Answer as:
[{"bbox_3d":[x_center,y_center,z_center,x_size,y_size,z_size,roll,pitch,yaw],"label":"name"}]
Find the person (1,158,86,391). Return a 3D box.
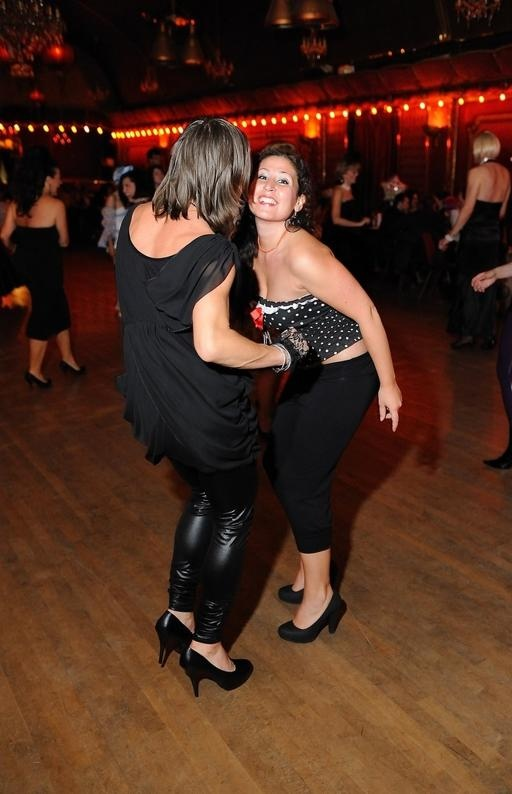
[{"bbox_3d":[-1.781,-1.010,4.692,0.556,1.806,0.523,-4,14,-11],"label":"person"}]

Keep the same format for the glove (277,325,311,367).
[{"bbox_3d":[0.096,-0.108,1.315,0.044,0.092,0.071,11,40,-34],"label":"glove"}]

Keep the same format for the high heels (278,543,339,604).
[{"bbox_3d":[0.202,0.632,2.057,0.233,0.094,0.118,-18,15,-11],"label":"high heels"}]

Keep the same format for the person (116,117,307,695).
[{"bbox_3d":[-0.112,0.124,1.377,0.321,1.443,0.484,-10,16,-33],"label":"person"}]

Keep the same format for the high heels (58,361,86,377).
[{"bbox_3d":[-1.604,-0.243,4.981,0.225,0.144,0.121,-18,36,-28],"label":"high heels"}]

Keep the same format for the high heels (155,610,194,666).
[{"bbox_3d":[-0.217,0.680,1.620,0.073,0.109,0.232,4,-15,11],"label":"high heels"}]

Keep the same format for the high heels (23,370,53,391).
[{"bbox_3d":[-1.795,-0.125,4.687,0.231,0.149,0.118,-18,42,-31],"label":"high heels"}]

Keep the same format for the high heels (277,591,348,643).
[{"bbox_3d":[0.170,0.690,1.887,0.238,0.152,0.114,-4,16,-15],"label":"high heels"}]

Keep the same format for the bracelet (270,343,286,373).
[{"bbox_3d":[0.038,-0.083,1.255,0.025,0.048,0.043,-15,42,-29],"label":"bracelet"}]
